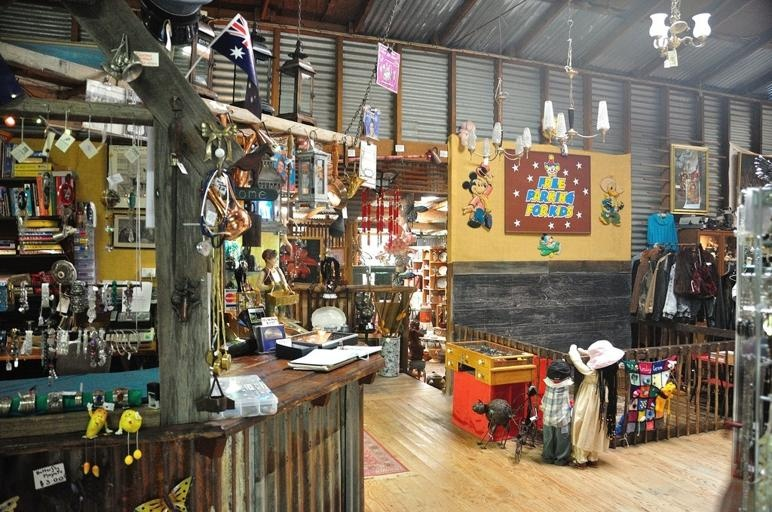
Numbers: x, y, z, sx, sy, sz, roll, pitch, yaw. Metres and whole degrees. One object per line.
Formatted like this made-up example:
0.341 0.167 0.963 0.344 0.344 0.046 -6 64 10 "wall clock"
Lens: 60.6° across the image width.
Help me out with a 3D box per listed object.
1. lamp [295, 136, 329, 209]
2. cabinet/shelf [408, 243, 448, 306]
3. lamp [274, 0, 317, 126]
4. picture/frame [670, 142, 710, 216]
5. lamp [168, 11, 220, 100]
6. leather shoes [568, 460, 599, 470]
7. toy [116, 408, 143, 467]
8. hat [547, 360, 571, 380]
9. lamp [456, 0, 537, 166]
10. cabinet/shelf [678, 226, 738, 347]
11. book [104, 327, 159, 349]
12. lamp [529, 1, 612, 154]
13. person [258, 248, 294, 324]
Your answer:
-0.747 -0.817 6.752 0.332 0.660 0.364 0 10 -9 "lamp"
1.013 0.463 15.872 0.737 1.572 2.049 1 10 -3 "cabinet/shelf"
-0.933 -1.799 6.873 0.375 0.862 0.345 -1 9 -11 "lamp"
5.920 -1.502 12.922 0.838 1.319 0.257 -1 9 -13 "picture/frame"
-1.701 -1.803 5.901 0.312 0.769 0.908 2 10 3 "lamp"
2.298 2.410 7.624 0.286 0.136 0.120 3 -2 11 "leather shoes"
-1.879 1.346 4.845 0.187 0.461 0.159 -1 9 -11 "toy"
2.019 1.342 7.704 0.177 0.168 0.260 1 -9 9 "hat"
1.764 -2.669 10.290 1.090 2.484 3.772 3 10 12 "lamp"
5.498 0.421 11.416 0.994 1.554 3.424 6 11 25 "cabinet/shelf"
-2.280 0.722 5.880 0.357 0.092 0.357 1 -2 -14 "book"
2.978 -2.834 10.353 1.038 2.443 4.572 4 10 16 "lamp"
-1.180 0.334 7.108 0.341 0.740 0.683 -1 10 -11 "person"
